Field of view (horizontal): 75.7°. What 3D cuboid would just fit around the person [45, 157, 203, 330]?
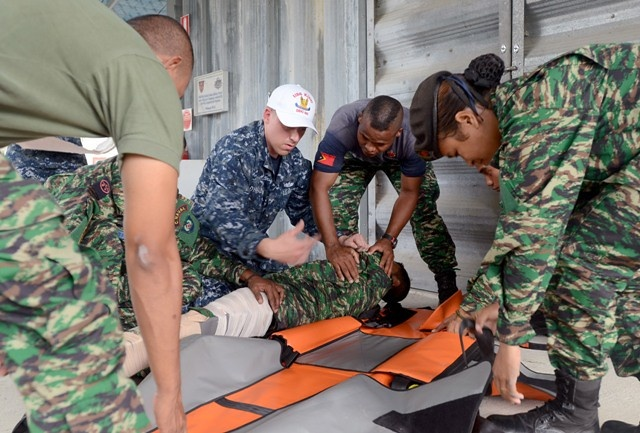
[{"bbox_3d":[-0.883,0.038,2.000,0.755,0.811,0.319,-5,0,-3],"label":"person"}]

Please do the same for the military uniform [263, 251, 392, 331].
[{"bbox_3d":[0.071,0.371,2.290,0.800,0.210,0.256,-3,23,-45],"label":"military uniform"}]

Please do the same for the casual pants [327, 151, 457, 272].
[{"bbox_3d":[0.619,-0.029,3.172,0.708,1.094,0.341,4,20,31],"label":"casual pants"}]

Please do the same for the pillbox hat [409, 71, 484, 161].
[{"bbox_3d":[0.506,-0.407,1.643,0.201,0.250,0.274,3,7,22],"label":"pillbox hat"}]
